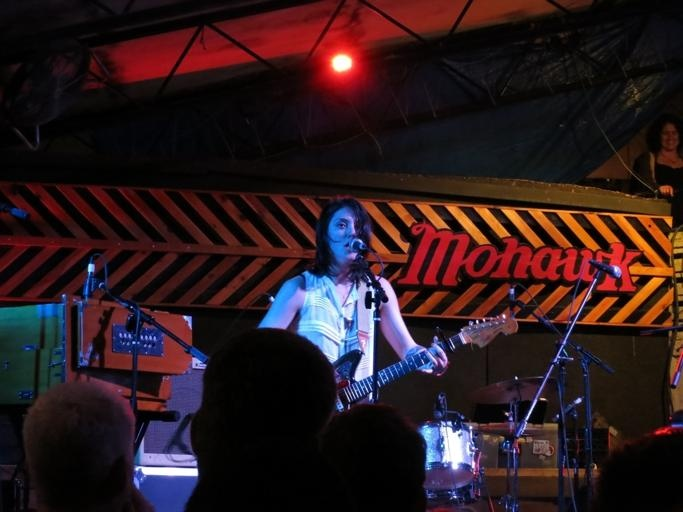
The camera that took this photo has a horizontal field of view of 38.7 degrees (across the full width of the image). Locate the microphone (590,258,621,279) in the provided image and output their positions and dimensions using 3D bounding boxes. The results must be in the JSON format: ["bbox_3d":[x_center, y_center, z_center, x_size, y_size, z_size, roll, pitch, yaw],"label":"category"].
[{"bbox_3d":[2.628,0.122,9.750,0.325,0.111,0.115,16,26,10],"label":"microphone"}]

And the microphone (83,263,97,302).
[{"bbox_3d":[-2.298,0.248,8.862,0.080,0.346,0.103,3,-31,-1],"label":"microphone"}]
